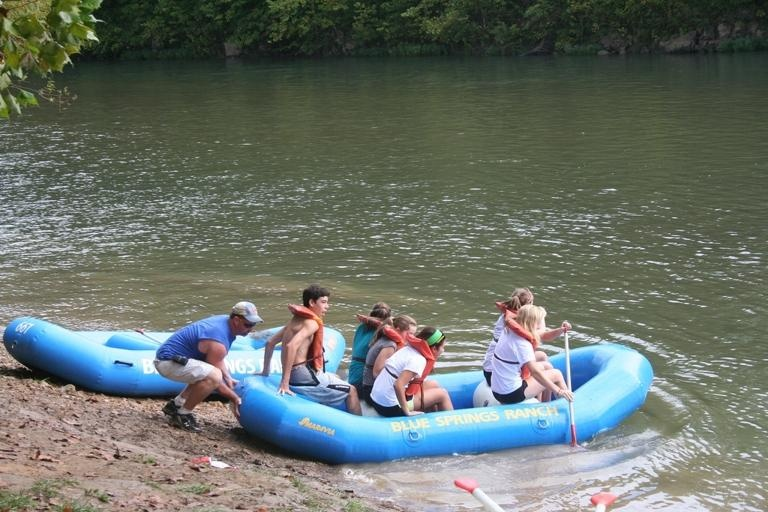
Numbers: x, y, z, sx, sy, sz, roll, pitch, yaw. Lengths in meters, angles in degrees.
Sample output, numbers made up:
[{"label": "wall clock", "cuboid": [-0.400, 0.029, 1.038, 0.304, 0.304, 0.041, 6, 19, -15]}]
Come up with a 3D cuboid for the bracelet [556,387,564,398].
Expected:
[{"label": "bracelet", "cuboid": [2.626, 2.035, 16.980, 0.183, 0.043, 0.123, 5, 50, -4]}]

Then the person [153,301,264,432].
[{"label": "person", "cuboid": [-2.595, 1.605, 16.634, 1.397, 1.900, 0.412, -4, 15, -9]}]

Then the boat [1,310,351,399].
[{"label": "boat", "cuboid": [-3.362, 1.625, 18.063, 4.398, 0.628, 1.897, 1, 4, -23]}]

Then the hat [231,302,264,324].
[{"label": "hat", "cuboid": [-1.971, 0.805, 16.502, 0.564, 0.201, 0.294, 15, 10, -5]}]

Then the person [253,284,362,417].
[{"label": "person", "cuboid": [-0.981, 1.407, 16.712, 1.166, 1.927, 0.417, -2, 15, -1]}]

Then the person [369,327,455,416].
[{"label": "person", "cuboid": [0.432, 1.722, 16.791, 1.091, 1.336, 0.565, -8, 15, -27]}]
